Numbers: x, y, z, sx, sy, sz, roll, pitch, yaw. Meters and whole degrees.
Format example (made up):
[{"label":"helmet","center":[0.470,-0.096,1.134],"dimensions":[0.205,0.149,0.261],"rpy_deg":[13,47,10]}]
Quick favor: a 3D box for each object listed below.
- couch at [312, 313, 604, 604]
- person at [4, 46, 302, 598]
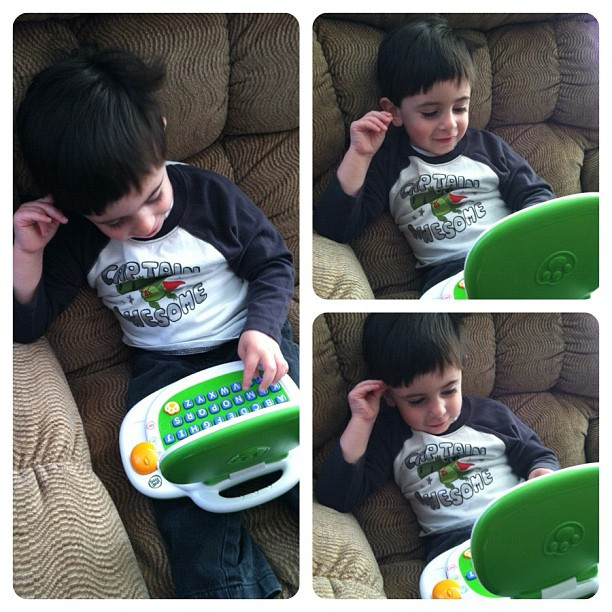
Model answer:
[{"label":"couch","center":[0.272,0.233,0.940],"dimensions":[0.514,0.450,0.166],"rpy_deg":[-1,-4,0]},{"label":"person","center":[-0.215,0.038,0.862],"dimensions":[0.388,0.773,0.361],"rpy_deg":[8,30,35]}]
